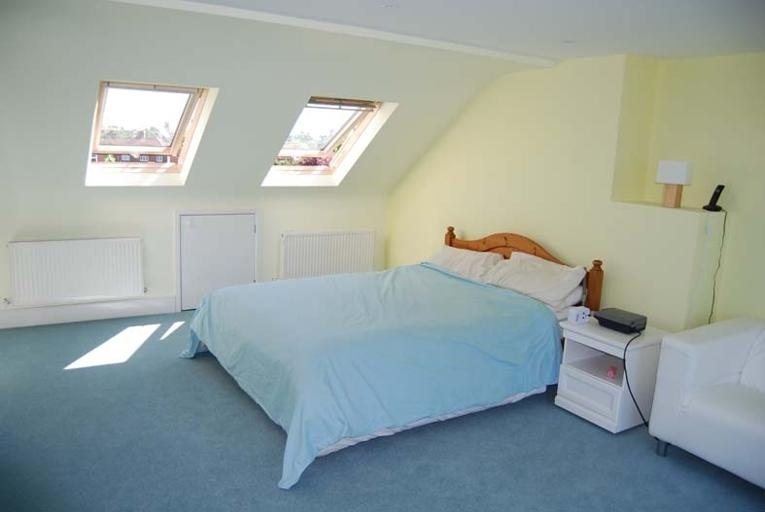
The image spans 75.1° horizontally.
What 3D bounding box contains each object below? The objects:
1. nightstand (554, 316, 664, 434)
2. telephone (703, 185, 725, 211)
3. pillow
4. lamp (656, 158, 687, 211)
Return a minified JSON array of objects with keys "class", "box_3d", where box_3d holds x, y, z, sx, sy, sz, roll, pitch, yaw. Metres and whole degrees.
[{"class":"nightstand","box_3d":[1.941,0.961,4.233,0.704,0.708,0.739,1,8,-18]},{"class":"telephone","box_3d":[2.802,-0.495,4.207,0.179,0.227,0.097,-3,9,-26]},{"class":"pillow","box_3d":[1.278,0.189,5.137,0.455,0.451,1.510,-6,11,-44]},{"class":"lamp","box_3d":[2.478,-0.624,4.278,0.210,0.408,0.193,1,9,-3]}]
